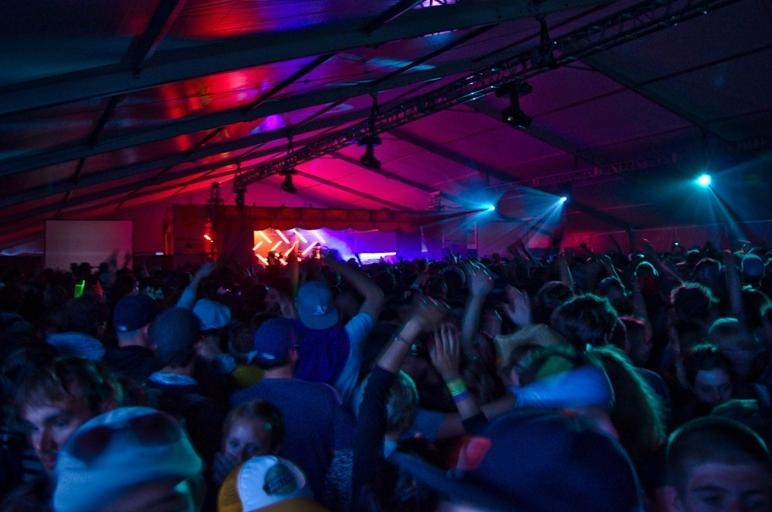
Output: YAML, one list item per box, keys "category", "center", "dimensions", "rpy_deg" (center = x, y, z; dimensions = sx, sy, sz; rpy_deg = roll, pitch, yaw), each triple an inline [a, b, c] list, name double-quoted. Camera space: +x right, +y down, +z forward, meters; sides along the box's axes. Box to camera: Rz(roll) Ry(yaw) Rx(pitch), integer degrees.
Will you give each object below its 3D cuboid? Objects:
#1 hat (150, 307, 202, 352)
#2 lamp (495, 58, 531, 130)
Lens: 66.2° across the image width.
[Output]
- category: "hat"
  center: [-1.691, 0.608, 4.738]
  dimensions: [0.210, 0.244, 0.353]
  rpy_deg: [-21, -7, 13]
- category: "lamp"
  center: [2.282, -2.743, 10.581]
  dimensions: [0.579, 1.086, 0.452]
  rpy_deg: [-1, -11, 17]
